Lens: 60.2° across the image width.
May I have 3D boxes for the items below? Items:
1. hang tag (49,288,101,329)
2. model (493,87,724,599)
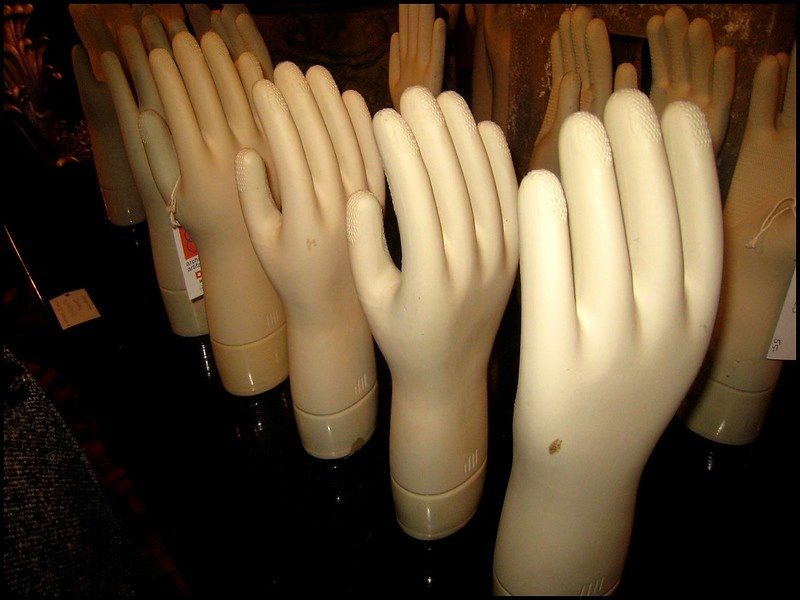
[{"bbox_3d":[-0.931,0.026,1.986,0.118,0.062,0.148,-27,40,-33],"label":"hang tag"},{"bbox_3d":[0.346,0.108,1.224,0.412,0.850,0.258,-19,33,-27],"label":"model"}]
